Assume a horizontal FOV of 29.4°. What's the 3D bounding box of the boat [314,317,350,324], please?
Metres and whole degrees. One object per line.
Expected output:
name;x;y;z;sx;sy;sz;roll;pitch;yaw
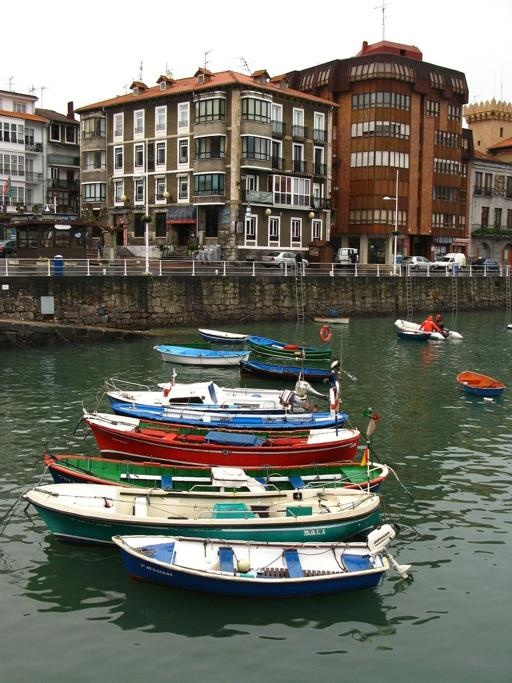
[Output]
boat;4.582;-1.256;59.093;2.633;0.443;0.678;4;11;22

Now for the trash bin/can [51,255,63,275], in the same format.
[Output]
trash bin/can;-9.456;-3.604;46.318;0.552;0.771;2.431;0;8;-10

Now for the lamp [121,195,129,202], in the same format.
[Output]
lamp;-9.590;-10.332;71.001;0.485;0.519;0.488;18;30;29

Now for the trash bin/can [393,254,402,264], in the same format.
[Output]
trash bin/can;11.296;-6.482;76.819;0.979;0.846;1.653;-1;9;7

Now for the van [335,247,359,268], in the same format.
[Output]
van;6.589;-6.046;71.119;1.664;1.210;2.121;5;26;14

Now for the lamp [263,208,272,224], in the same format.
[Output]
lamp;0.816;-8.707;67.600;0.479;1.060;1.258;1;8;0

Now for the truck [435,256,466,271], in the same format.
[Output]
truck;15.775;-6.391;78.530;3.152;1.501;1.622;-4;6;-41

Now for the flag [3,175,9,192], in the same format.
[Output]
flag;-19.148;-11.865;74.283;0.367;1.186;3.214;-1;8;-16

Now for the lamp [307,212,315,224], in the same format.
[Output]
lamp;4.137;-9.255;72.215;0.647;0.765;0.633;-6;35;-6

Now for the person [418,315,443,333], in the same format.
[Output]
person;9.182;-0.813;51.035;1.088;0.755;2.285;5;9;23

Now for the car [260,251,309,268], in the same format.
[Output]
car;2.055;-5.331;63.719;3.001;1.030;1.356;-10;16;-33

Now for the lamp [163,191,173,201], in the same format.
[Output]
lamp;-6.154;-10.072;68.067;0.669;0.786;1.758;0;8;-4
